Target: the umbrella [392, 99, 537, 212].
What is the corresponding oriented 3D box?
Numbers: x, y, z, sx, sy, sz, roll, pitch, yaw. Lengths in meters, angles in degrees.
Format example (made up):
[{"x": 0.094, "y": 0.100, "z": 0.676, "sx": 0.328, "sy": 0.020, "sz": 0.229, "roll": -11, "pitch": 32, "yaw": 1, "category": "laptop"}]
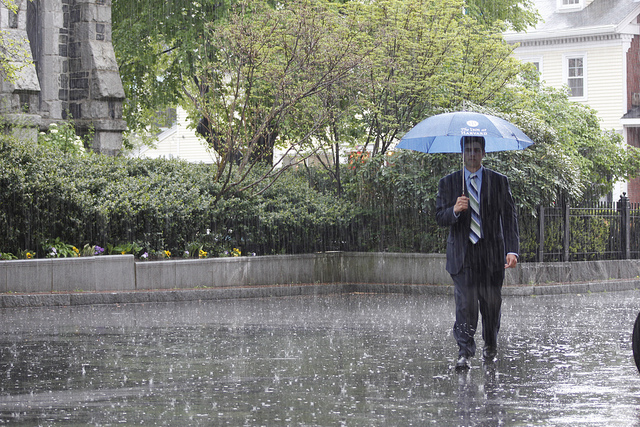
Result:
[{"x": 3.529, "y": -1.132, "z": 34.020, "sx": 2.485, "sy": 1.959, "sz": 2.508, "roll": -1, "pitch": -4, "yaw": 30, "category": "umbrella"}]
